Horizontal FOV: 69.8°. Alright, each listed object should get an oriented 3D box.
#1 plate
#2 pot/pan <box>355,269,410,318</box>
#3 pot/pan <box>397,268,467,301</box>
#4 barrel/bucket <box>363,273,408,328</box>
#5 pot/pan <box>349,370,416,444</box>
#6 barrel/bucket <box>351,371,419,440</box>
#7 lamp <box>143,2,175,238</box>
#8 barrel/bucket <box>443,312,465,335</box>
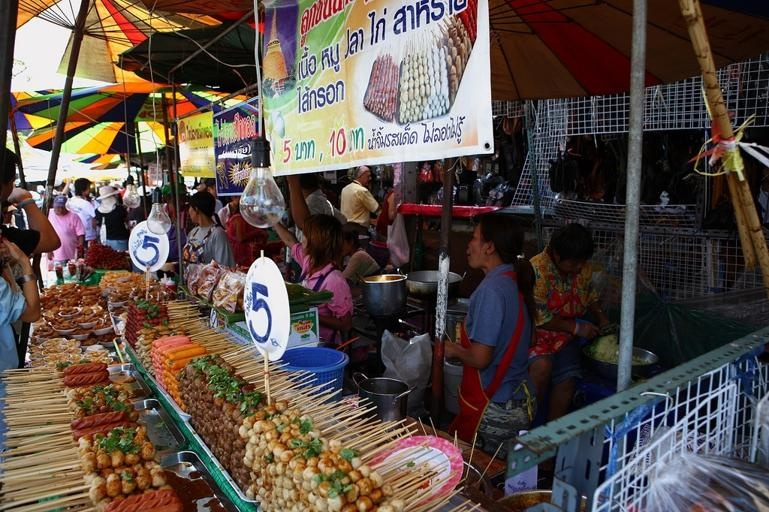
[{"bbox_3d":[0.178,1.056,2.730,0.350,0.215,0.446,4,7,27],"label":"plate"},{"bbox_3d":[-0.020,0.372,5.535,0.375,0.327,0.411,0,1,-13],"label":"pot/pan"},{"bbox_3d":[0.571,0.295,6.083,0.726,0.329,0.600,0,9,-26],"label":"pot/pan"},{"bbox_3d":[0.004,0.402,5.589,0.470,0.532,0.347,-4,19,0],"label":"barrel/bucket"},{"bbox_3d":[-0.005,0.903,3.534,0.277,0.246,0.463,1,3,-23],"label":"pot/pan"},{"bbox_3d":[0.008,0.870,3.535,0.278,0.226,0.461,0,3,-29],"label":"barrel/bucket"},{"bbox_3d":[-2.838,-1.750,6.974,0.287,3.097,0.390,-4,9,-31],"label":"lamp"},{"bbox_3d":[0.659,0.619,5.390,0.234,0.285,0.248,2,0,0],"label":"barrel/bucket"}]
